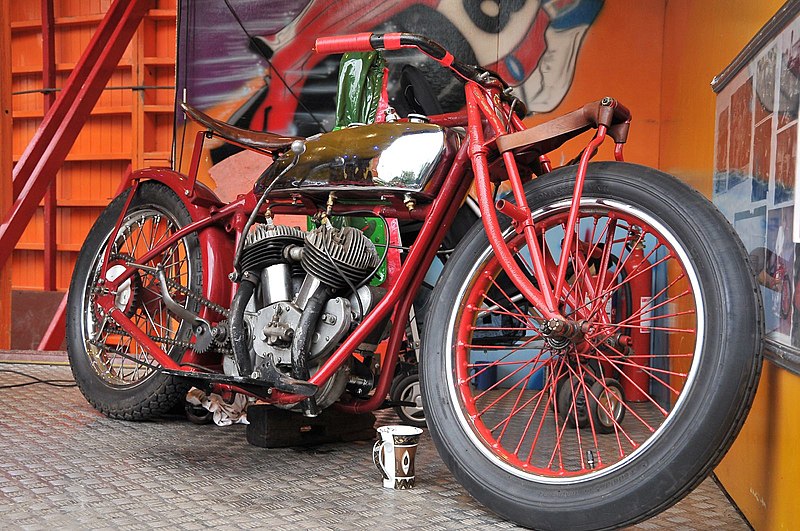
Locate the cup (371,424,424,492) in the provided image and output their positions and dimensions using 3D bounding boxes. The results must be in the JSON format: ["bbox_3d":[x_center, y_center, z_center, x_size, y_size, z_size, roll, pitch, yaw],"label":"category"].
[{"bbox_3d":[-0.015,0.733,2.820,0.153,0.244,0.231,4,3,45],"label":"cup"}]
